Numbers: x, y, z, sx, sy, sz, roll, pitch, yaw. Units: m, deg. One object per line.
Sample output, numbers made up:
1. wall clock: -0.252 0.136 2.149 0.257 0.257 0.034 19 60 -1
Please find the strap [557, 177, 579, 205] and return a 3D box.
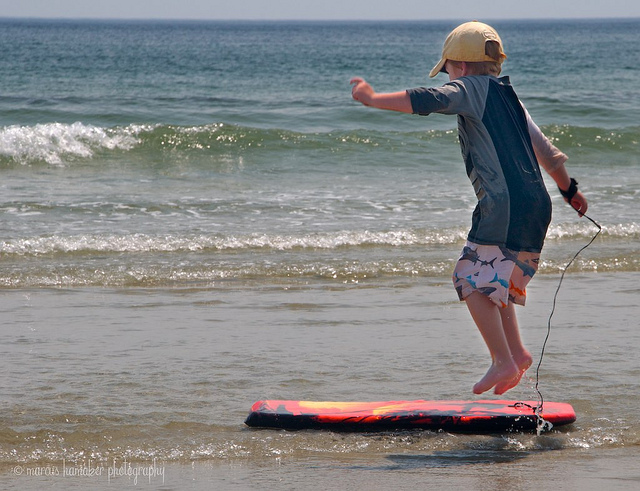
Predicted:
1. strap: 3.538 -0.790 23.147 0.293 0.312 0.161 -9 3 -12
